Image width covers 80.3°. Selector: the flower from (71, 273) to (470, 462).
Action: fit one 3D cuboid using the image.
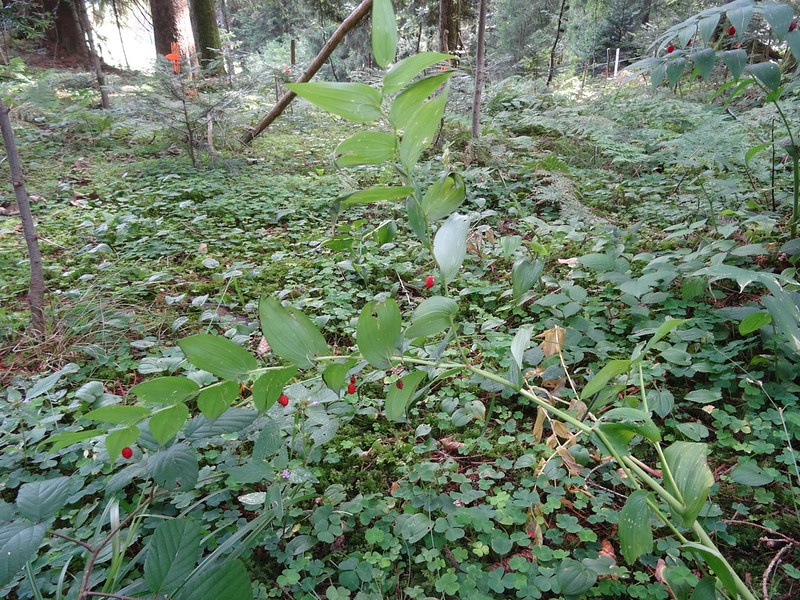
[{"bbox_3d":[-0.480,0.256,1.857,2.027,0.430,0.595,1,48,-8],"label":"flower"}]
